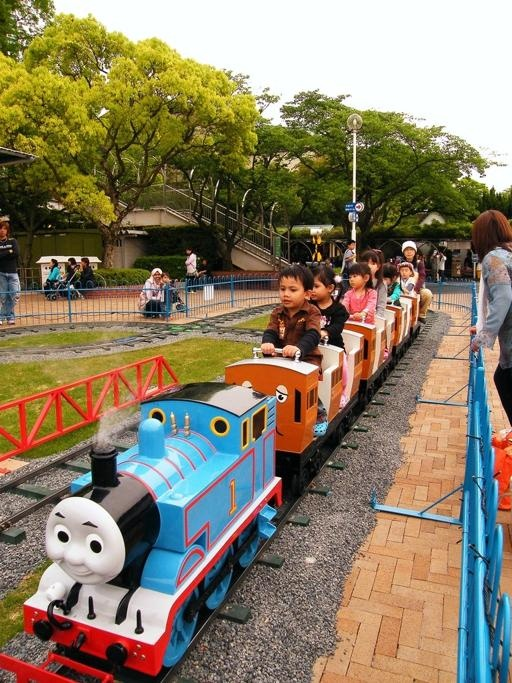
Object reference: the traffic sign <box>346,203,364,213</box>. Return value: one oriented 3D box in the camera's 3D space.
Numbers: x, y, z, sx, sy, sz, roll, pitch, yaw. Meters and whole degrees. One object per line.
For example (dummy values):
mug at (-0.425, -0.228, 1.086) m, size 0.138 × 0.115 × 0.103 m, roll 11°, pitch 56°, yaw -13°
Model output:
traffic sign at (3.871, -5.164, 18.861) m, size 0.718 × 0.245 × 0.990 m, roll 1°, pitch 15°, yaw 9°
